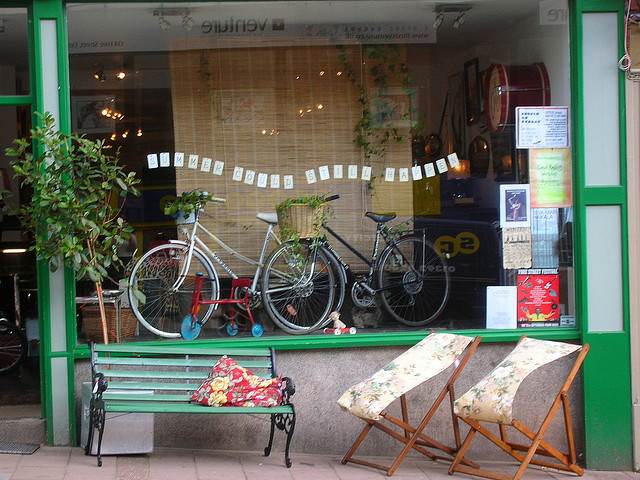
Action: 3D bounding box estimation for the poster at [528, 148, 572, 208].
[{"bbox_3d":[2.208,-0.592,5.839,0.424,0.598,0.047,-1,0,2],"label":"poster"}]

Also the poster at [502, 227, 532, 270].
[{"bbox_3d":[1.922,0.058,5.924,0.297,0.440,0.047,-3,-5,34],"label":"poster"}]

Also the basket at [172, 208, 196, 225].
[{"bbox_3d":[-1.323,-0.236,5.939,0.169,0.116,0.131,1,-4,-14],"label":"basket"}]

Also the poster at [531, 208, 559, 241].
[{"bbox_3d":[2.164,-0.152,5.830,0.294,0.394,0.040,2,4,31],"label":"poster"}]

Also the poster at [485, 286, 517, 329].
[{"bbox_3d":[1.750,0.646,5.862,0.276,0.381,0.150,-1,1,19],"label":"poster"}]

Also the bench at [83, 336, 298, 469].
[{"bbox_3d":[-1.093,1.362,5.117,1.824,1.159,0.930,-1,1,-4],"label":"bench"}]

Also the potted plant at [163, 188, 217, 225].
[{"bbox_3d":[-1.364,-0.315,5.993,0.362,0.135,0.296,-30,26,-27],"label":"potted plant"}]

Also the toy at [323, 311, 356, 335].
[{"bbox_3d":[0.181,0.741,5.826,0.286,0.226,0.162,0,0,-41],"label":"toy"}]

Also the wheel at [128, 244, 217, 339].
[{"bbox_3d":[-1.398,0.483,5.794,0.822,0.884,0.225,-1,1,-10],"label":"wheel"}]

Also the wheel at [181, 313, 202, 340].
[{"bbox_3d":[-1.223,0.825,5.744,0.216,0.246,0.058,4,-9,-9],"label":"wheel"}]

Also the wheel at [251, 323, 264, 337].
[{"bbox_3d":[-0.592,0.855,5.762,0.119,0.107,0.086,-1,1,-7],"label":"wheel"}]
